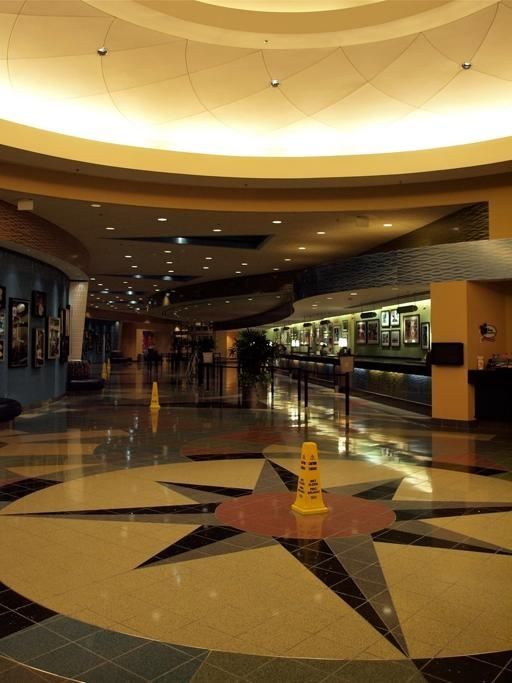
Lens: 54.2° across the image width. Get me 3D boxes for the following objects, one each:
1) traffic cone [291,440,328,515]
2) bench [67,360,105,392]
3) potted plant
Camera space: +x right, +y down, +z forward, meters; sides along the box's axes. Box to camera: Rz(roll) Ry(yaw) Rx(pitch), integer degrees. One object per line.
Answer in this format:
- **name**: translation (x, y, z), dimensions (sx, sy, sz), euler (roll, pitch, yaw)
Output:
- **traffic cone**: translation (0.516, 1.300, 4.897), dimensions (0.338, 0.667, 0.378), euler (0, -2, 4)
- **bench**: translation (-6.722, 1.355, 19.781), dimensions (1.355, 1.200, 1.425), euler (-3, -5, 26)
- **potted plant**: translation (0.007, 0.698, 15.584), dimensions (1.359, 2.284, 2.837), euler (0, -2, -3)
